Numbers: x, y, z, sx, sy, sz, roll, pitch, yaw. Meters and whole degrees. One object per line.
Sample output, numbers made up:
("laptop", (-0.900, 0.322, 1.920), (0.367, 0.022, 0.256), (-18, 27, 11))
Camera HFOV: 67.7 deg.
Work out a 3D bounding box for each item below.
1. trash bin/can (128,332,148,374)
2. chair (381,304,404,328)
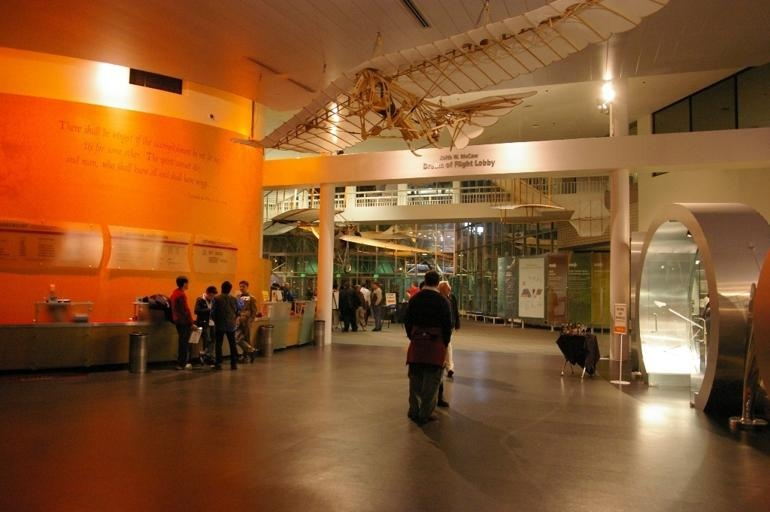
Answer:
("trash bin/can", (-4.627, 1.819, 10.761), (0.278, 0.697, 0.352), (0, 1, -27))
("chair", (0.381, 2.460, 22.771), (1.021, 0.996, 1.025), (3, -5, -26))
